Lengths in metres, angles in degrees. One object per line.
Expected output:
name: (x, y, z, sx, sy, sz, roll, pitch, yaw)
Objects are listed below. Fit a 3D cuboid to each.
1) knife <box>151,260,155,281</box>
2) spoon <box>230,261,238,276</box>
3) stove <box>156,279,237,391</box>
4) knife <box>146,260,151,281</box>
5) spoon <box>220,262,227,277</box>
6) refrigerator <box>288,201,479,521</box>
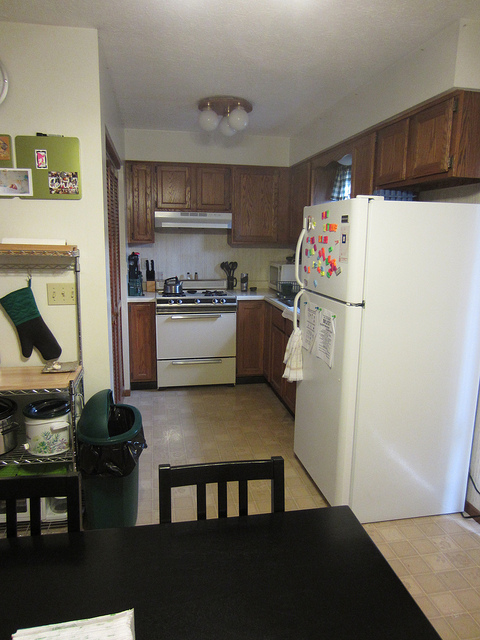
knife: (-0.846, -0.467, 4.592, 0.026, 0.187, 0.057, 4, 9, 12)
spoon: (-0.060, -0.511, 4.787, 0.054, 0.146, 0.116, 5, 9, 18)
stove: (-0.420, 0.118, 4.454, 0.689, 1.015, 0.693, 0, 5, 8)
knife: (-0.892, -0.471, 4.579, 0.058, 0.197, 0.031, 10, 12, 40)
spoon: (-0.166, -0.505, 4.777, 0.065, 0.132, 0.050, -4, 11, -35)
refrigerator: (0.849, -0.038, 3.379, 1.089, 2.792, 1.325, -1, 12, -7)
